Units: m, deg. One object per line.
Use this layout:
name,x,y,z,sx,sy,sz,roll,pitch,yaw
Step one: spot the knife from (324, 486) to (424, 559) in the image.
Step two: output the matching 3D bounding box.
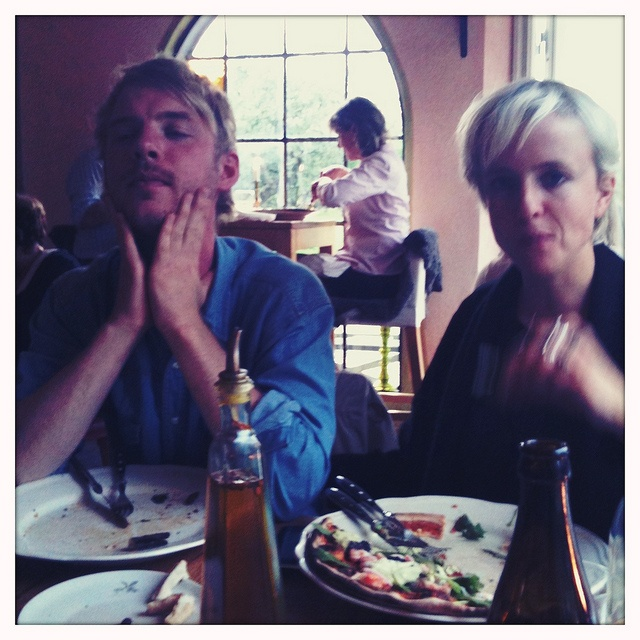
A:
knife,0.066,0.321,1.115,0.060,0.024,0.261,-13,26,-38

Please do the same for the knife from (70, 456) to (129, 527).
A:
knife,-0.379,0.299,1.156,0.017,0.017,0.116,-30,64,-30

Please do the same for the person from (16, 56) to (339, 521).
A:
person,-0.301,0.010,1.348,0.599,0.937,0.525,-1,0,3

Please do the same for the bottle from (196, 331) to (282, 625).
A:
bottle,-0.104,0.234,0.888,0.110,0.434,0.158,0,7,-5
